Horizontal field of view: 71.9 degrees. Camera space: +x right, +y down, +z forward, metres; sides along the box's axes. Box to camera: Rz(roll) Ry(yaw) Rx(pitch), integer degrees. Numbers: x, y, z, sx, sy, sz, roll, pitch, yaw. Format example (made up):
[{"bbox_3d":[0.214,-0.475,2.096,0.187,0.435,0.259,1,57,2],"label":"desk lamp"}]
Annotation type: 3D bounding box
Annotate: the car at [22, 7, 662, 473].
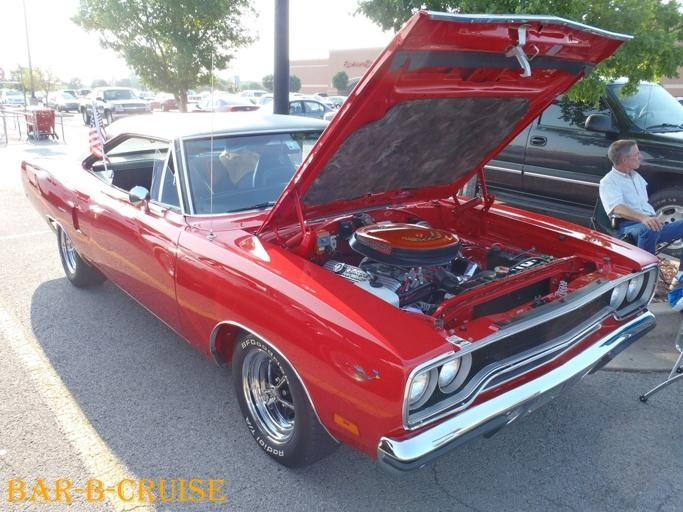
[{"bbox_3d":[-0.415,-0.575,3.830,2.692,1.964,4.533,-21,35,-39],"label":"car"}]
